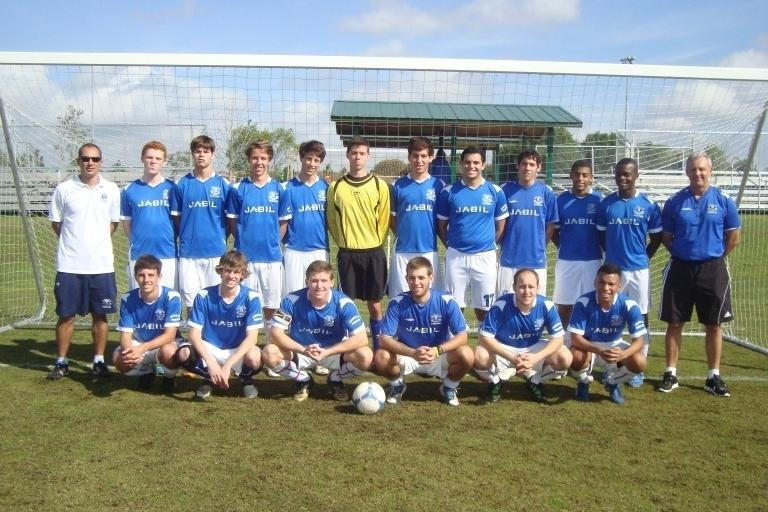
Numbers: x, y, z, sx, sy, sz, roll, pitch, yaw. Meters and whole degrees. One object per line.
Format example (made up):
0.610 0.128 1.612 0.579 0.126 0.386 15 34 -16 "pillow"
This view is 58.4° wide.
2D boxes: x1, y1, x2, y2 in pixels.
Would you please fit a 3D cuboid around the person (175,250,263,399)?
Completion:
-1.789 0.763 7.429 0.948 1.521 0.874 1 13 -19 "person"

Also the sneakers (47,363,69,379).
-3.783 1.320 7.943 0.180 0.146 0.318 -1 8 4 "sneakers"

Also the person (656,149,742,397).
3.545 0.198 7.760 0.830 2.687 0.676 1 8 17 "person"

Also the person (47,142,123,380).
-3.482 0.053 7.956 0.869 2.683 0.508 -5 9 -21 "person"

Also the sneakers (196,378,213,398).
-1.985 1.484 7.564 0.093 0.121 0.260 3 -5 -2 "sneakers"

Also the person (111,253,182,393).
-2.607 0.744 7.522 0.705 1.516 0.500 -3 8 -13 "person"

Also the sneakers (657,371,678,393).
3.255 1.453 7.865 0.131 0.180 0.365 -7 -8 37 "sneakers"

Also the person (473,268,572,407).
1.485 0.860 7.468 1.062 1.463 0.499 -1 8 2 "person"

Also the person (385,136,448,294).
0.415 -0.190 8.446 0.635 2.608 0.556 0 33 4 "person"

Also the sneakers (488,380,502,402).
1.197 1.483 7.516 0.170 0.209 0.514 0 -7 9 "sneakers"

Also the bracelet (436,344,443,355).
0.585 1.011 7.385 0.037 0.087 0.090 -1 22 1 "bracelet"

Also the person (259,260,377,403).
-0.697 0.817 7.517 1.131 1.459 0.964 1 14 4 "person"

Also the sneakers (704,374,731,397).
3.749 1.469 7.795 0.131 0.174 0.370 0 -2 -7 "sneakers"

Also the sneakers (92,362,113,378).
-3.288 1.334 7.989 0.116 0.144 0.345 -3 -2 -38 "sneakers"

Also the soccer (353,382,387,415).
-0.187 1.484 7.215 0.314 0.312 0.322 -4 43 -16 "soccer"

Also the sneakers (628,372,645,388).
2.863 1.413 7.809 0.146 0.180 0.411 -4 -12 29 "sneakers"

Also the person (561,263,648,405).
2.435 0.841 7.529 0.815 1.508 0.446 0 8 10 "person"

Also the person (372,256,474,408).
0.388 0.820 7.398 0.995 1.478 0.988 -1 9 -4 "person"

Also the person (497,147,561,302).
1.678 -0.032 8.328 0.818 2.342 0.627 1 7 8 "person"

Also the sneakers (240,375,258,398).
-1.481 1.450 7.493 0.114 0.137 0.310 1 -5 -20 "sneakers"
